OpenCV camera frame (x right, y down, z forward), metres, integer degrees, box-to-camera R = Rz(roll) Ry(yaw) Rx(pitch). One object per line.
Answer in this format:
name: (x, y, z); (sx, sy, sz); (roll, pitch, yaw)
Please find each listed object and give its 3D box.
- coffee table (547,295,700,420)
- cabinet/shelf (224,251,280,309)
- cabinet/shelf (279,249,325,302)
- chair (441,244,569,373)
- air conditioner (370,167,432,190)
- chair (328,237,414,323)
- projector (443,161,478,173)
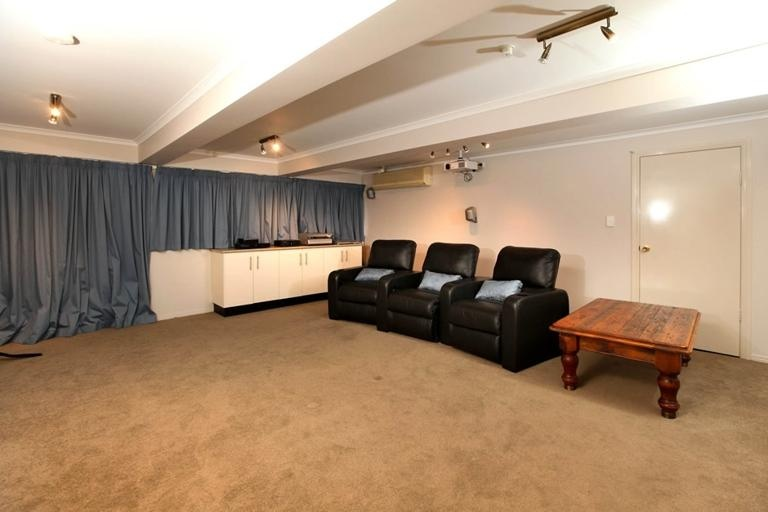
coffee table: (2.444, 0.966, 4.745); (1.169, 0.778, 1.169); (5, 10, 34)
cabinet/shelf: (-2.022, 0.350, 7.002); (0.926, 0.826, 0.339); (1, -3, -40)
cabinet/shelf: (-1.363, 0.299, 7.578); (0.876, 0.717, 0.320); (-3, 8, -35)
chair: (1.412, 0.542, 5.523); (1.191, 1.131, 1.185); (7, 12, 43)
air conditioner: (0.290, -1.324, 8.024); (0.334, 0.357, 1.228); (-8, 10, -37)
chair: (-0.132, 0.365, 6.719); (1.260, 1.039, 1.228); (-5, 9, -35)
projector: (1.190, -1.345, 6.981); (0.462, 0.185, 0.333); (-8, 11, -42)
